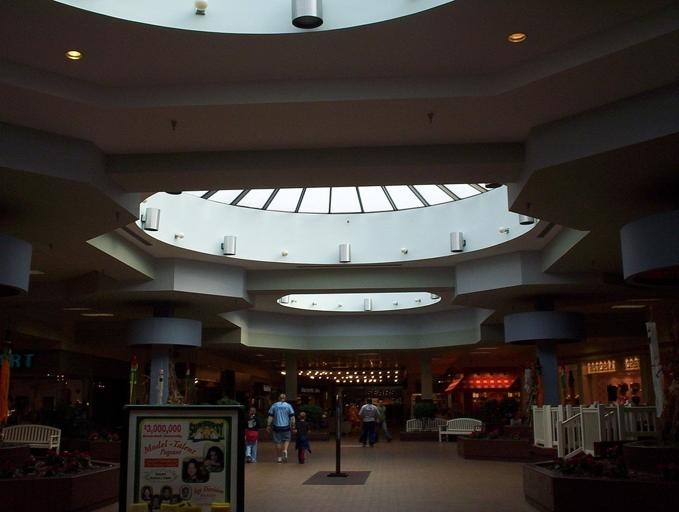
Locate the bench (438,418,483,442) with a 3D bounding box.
[{"bbox_3d":[5.988,8.746,28.537,2.052,1.040,1.842,-3,-16,8],"label":"bench"}]

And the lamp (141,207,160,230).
[{"bbox_3d":[-4.930,-0.918,14.725,0.470,0.572,0.568,9,-26,-25],"label":"lamp"}]

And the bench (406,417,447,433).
[{"bbox_3d":[4.507,8.948,30.031,1.439,0.576,1.048,1,-32,-3],"label":"bench"}]

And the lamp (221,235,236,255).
[{"bbox_3d":[-3.593,-0.332,18.207,0.300,0.599,0.440,10,-19,-34],"label":"lamp"}]

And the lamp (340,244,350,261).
[{"bbox_3d":[0.173,-0.117,19.546,0.346,0.659,0.304,2,-16,-10],"label":"lamp"}]

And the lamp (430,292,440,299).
[{"bbox_3d":[4.315,1.828,25.681,0.456,0.340,0.458,0,-8,0],"label":"lamp"}]

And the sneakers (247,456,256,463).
[{"bbox_3d":[-2.747,6.317,17.535,0.196,0.199,0.140,3,-12,10],"label":"sneakers"}]

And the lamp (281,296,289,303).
[{"bbox_3d":[-2.619,2.023,26.627,0.115,0.332,0.640,-8,-17,26],"label":"lamp"}]

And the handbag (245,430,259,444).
[{"bbox_3d":[-2.753,5.585,17.504,0.339,0.438,0.472,2,-16,-12],"label":"handbag"}]

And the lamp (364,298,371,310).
[{"bbox_3d":[1.372,2.313,27.377,0.359,0.642,0.544,-2,-15,3],"label":"lamp"}]
